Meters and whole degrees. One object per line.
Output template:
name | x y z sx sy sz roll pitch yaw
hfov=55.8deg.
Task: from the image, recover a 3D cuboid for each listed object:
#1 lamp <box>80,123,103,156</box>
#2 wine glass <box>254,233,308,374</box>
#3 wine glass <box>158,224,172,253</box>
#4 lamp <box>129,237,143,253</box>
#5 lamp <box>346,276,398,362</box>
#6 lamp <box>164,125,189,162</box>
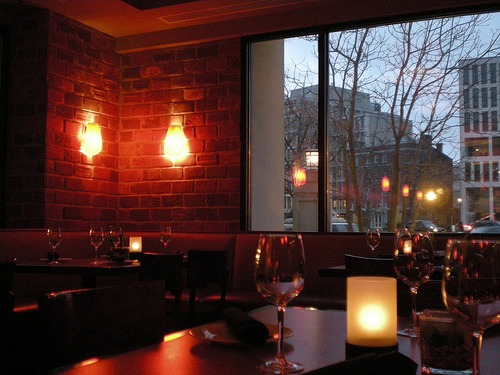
lamp | -1.640 -0.495 4.930 0.099 0.357 0.330 -2 -4 18
wine glass | 0.060 0.218 0.939 0.098 0.251 0.155 -1 -3 1
wine glass | -0.715 0.434 4.002 0.090 0.242 0.563 0 -4 -10
lamp | -0.897 0.452 3.735 0.111 0.129 0.114 -4 -12 13
lamp | 0.234 0.244 0.904 0.118 0.147 0.101 -1 -3 0
lamp | -0.816 -0.497 5.053 0.221 0.328 0.209 -2 14 -22
